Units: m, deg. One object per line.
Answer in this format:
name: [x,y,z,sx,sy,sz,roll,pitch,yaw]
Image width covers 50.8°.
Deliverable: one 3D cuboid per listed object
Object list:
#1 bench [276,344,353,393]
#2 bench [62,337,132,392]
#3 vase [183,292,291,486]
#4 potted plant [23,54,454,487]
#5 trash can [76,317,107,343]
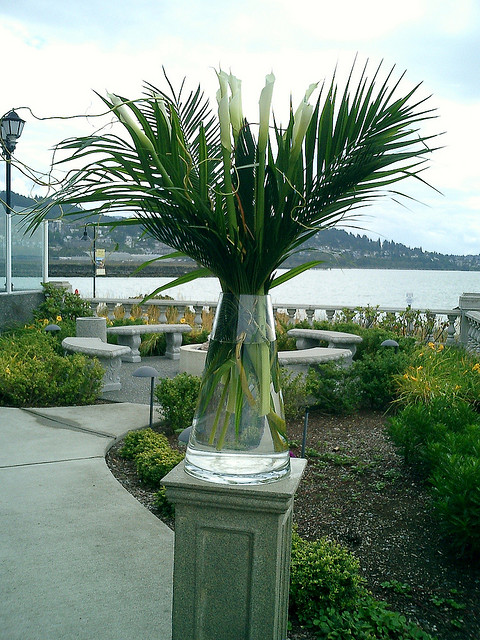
bench: [0.895,0.570,5.912,0.666,0.240,0.432,-5,5,-30]
bench: [-2.085,0.603,7.158,0.634,0.577,1.273,0,5,-36]
vase: [0.000,0.191,1.431,0.288,0.533,0.151,2,3,-5]
potted plant: [-0.015,-0.080,1.508,0.815,1.074,0.849,7,1,16]
trash can: [-2.495,0.103,8.533,0.421,0.526,0.413,-1,2,-40]
